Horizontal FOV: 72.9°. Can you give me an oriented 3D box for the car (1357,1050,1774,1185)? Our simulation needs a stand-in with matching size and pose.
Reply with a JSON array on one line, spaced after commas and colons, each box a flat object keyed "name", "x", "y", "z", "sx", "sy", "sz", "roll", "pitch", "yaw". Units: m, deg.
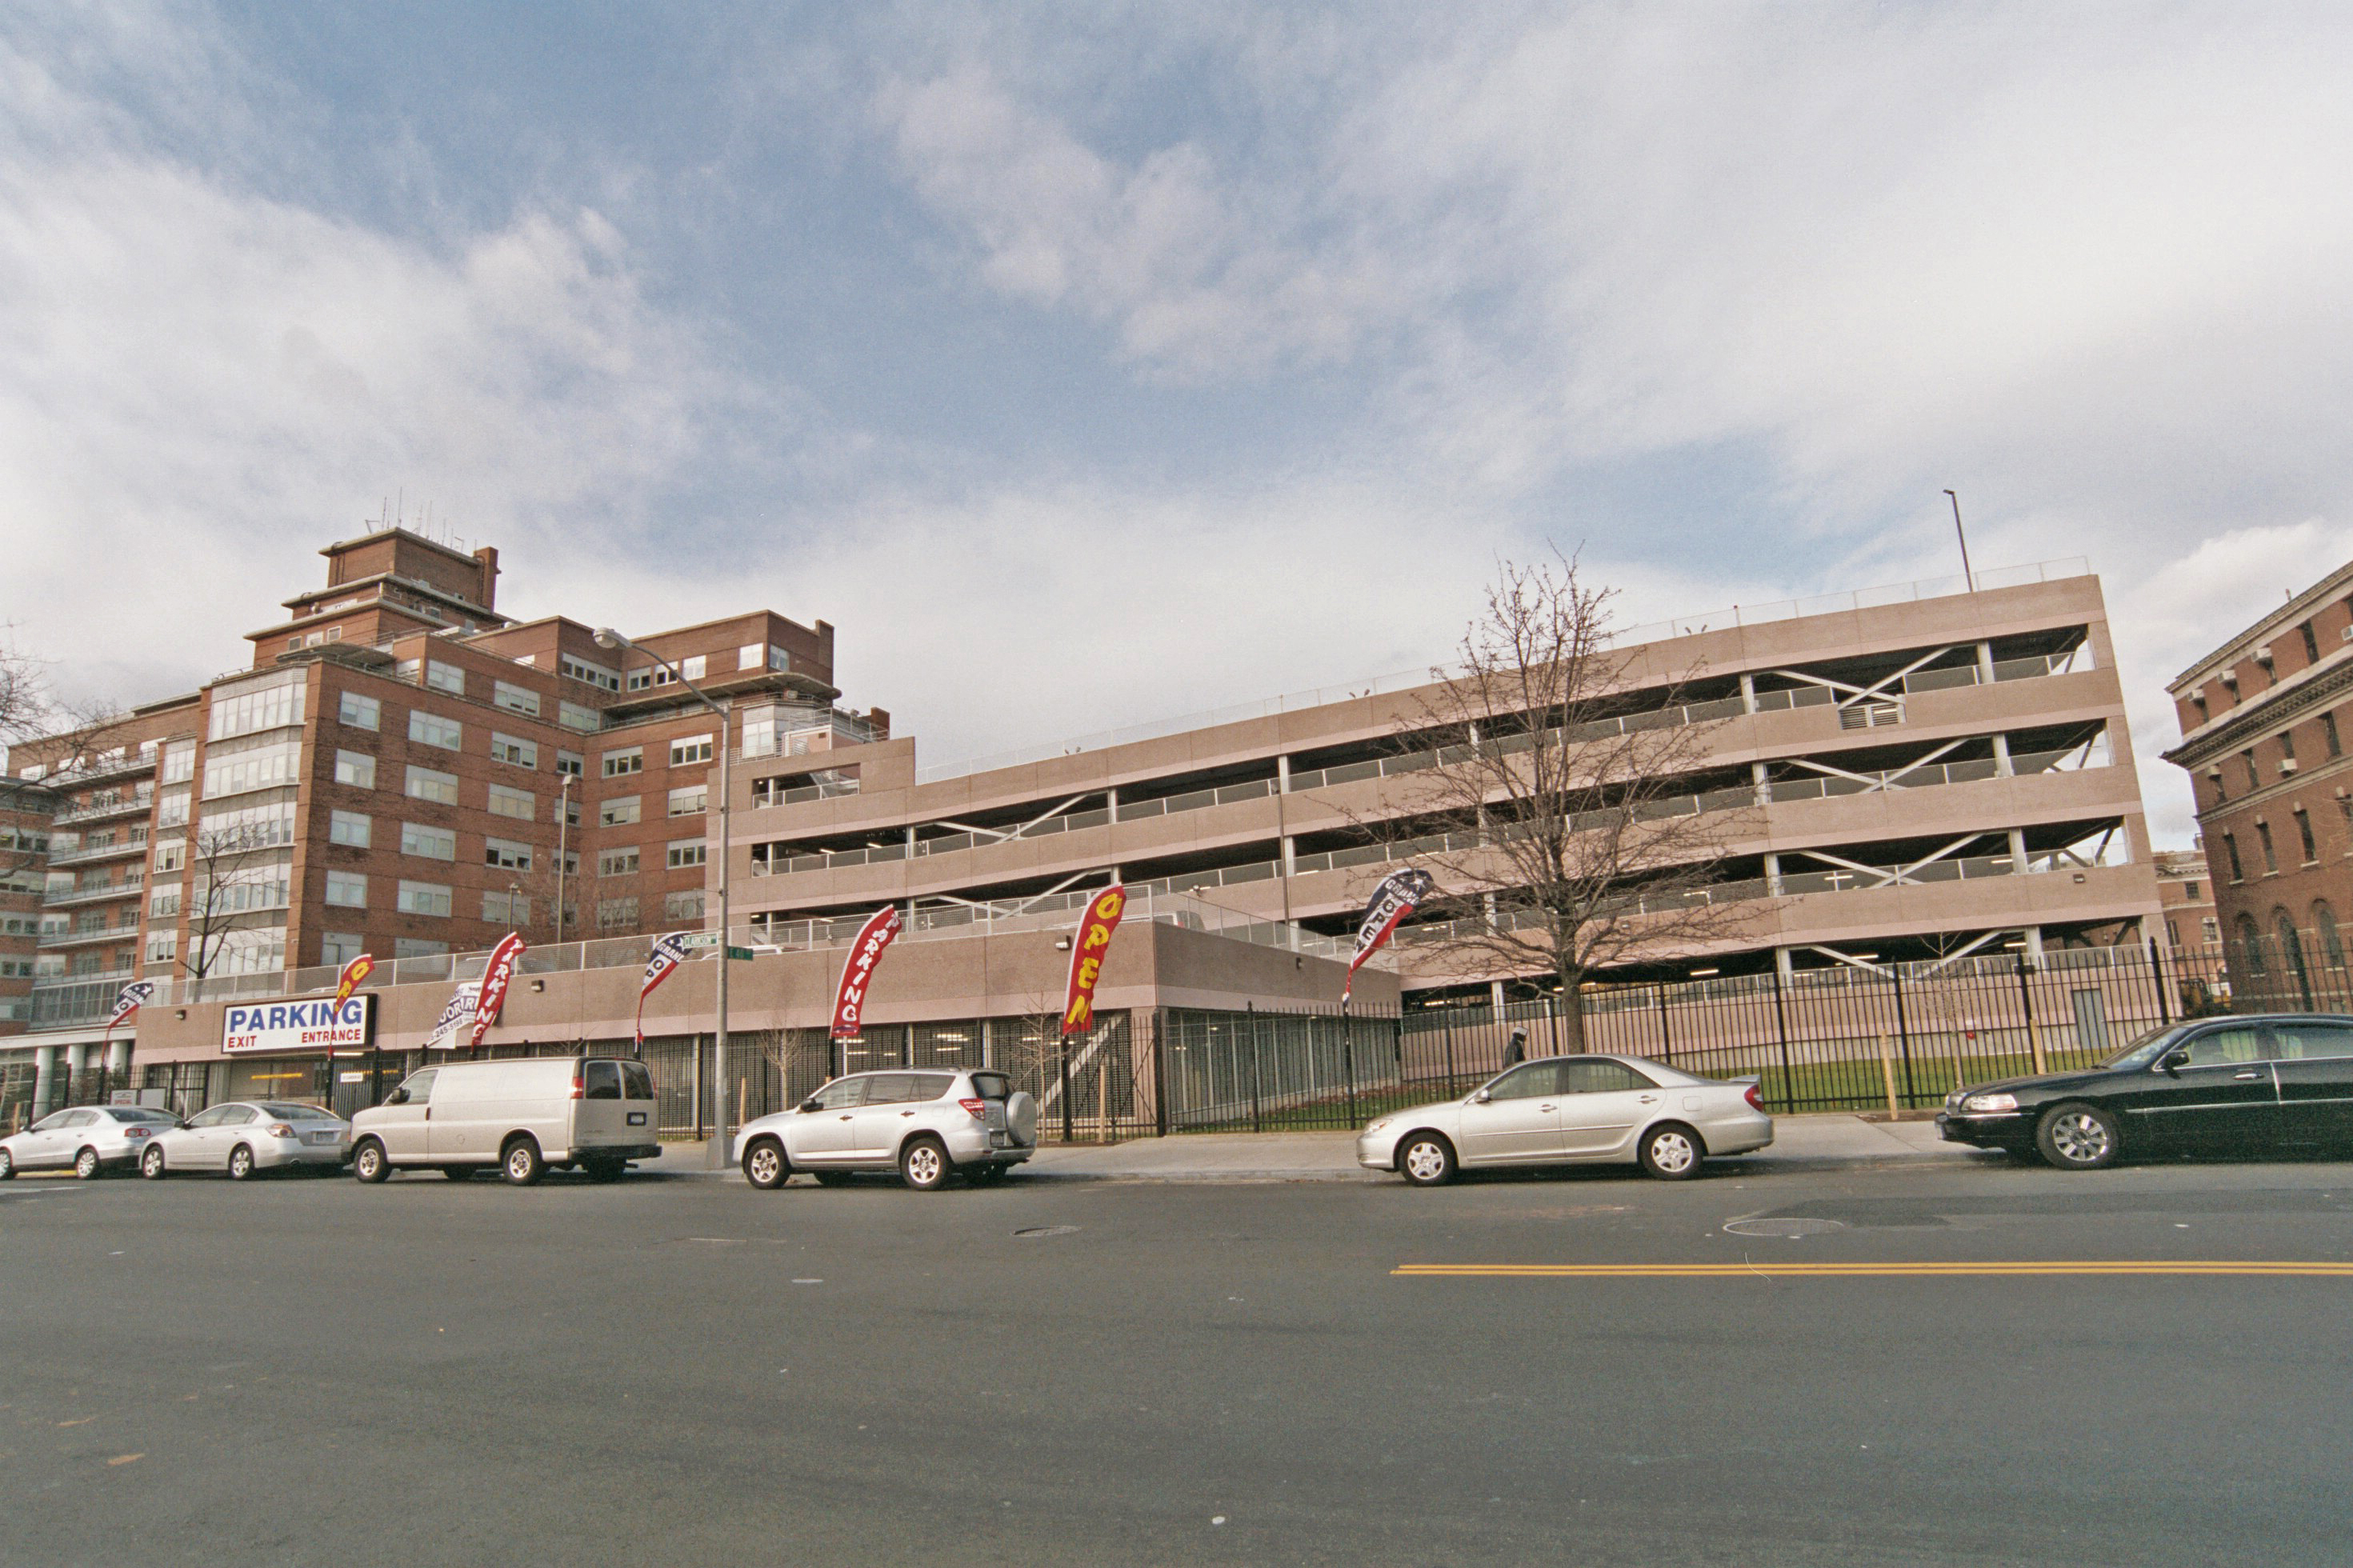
[{"name": "car", "x": 5.119, "y": 4.545, "z": 21.269, "sx": 5.043, "sy": 1.479, "sz": 2.028, "roll": -3, "pitch": -18, "yaw": 15}]

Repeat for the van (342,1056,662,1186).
[{"name": "van", "x": -11.784, "y": 5.822, "z": 27.807, "sx": 5.624, "sy": 2.281, "sz": 1.678, "roll": -2, "pitch": 0, "yaw": 20}]

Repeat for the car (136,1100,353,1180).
[{"name": "car", "x": -18.006, "y": 7.017, "z": 31.168, "sx": 4.038, "sy": 1.569, "sz": 1.083, "roll": -2, "pitch": 0, "yaw": 21}]
